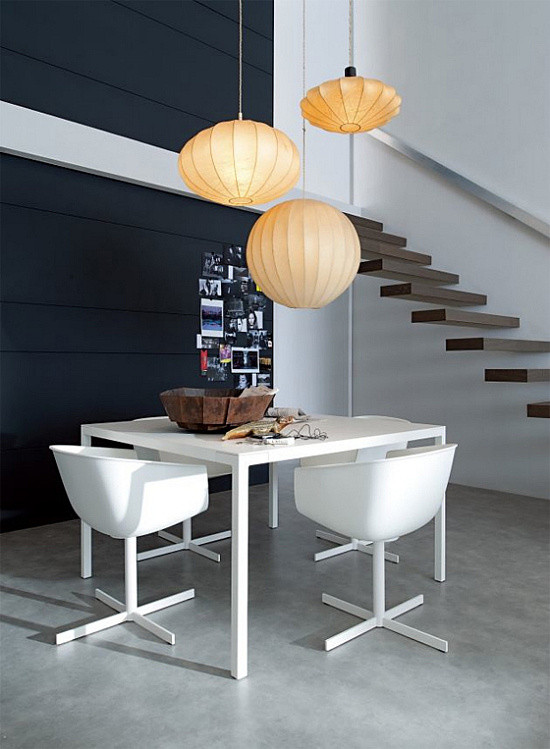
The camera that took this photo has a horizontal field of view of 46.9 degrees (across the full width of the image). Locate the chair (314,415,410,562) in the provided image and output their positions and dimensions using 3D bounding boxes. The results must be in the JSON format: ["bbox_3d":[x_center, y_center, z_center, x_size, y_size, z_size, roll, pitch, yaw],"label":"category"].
[{"bbox_3d":[0.419,0.665,3.237,0.433,0.492,0.424,1,11,-8],"label":"chair"}]

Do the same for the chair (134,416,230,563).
[{"bbox_3d":[-0.497,0.713,3.394,0.423,0.442,0.489,-7,50,-6],"label":"chair"}]

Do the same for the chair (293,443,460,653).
[{"bbox_3d":[0.305,0.559,2.405,0.644,0.650,0.683,2,1,42],"label":"chair"}]

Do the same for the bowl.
[{"bbox_3d":[-0.228,0.151,2.412,0.421,0.156,0.248,0,1,3],"label":"bowl"}]

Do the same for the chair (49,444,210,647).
[{"bbox_3d":[-0.504,0.590,2.277,0.591,0.594,0.556,1,-1,40],"label":"chair"}]
